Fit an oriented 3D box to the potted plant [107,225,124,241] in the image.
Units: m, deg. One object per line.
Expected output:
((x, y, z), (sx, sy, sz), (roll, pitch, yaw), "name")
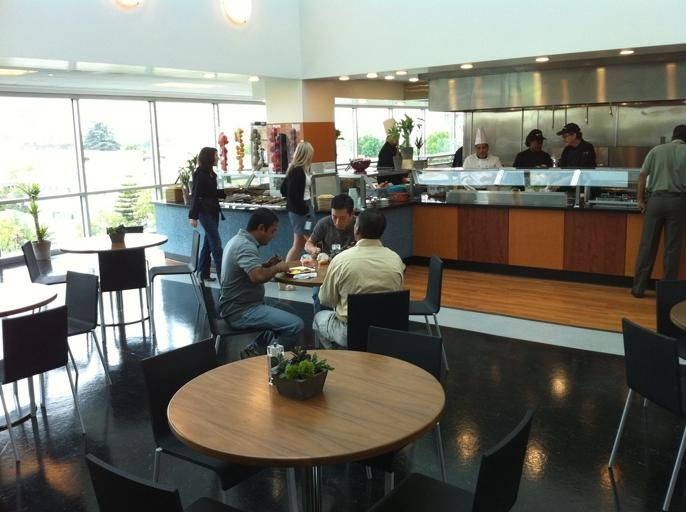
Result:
((-2.543, -0.270, 5.934), (0.174, 0.135, 0.179), (-1, 4, -7), "potted plant")

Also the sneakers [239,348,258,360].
((-0.760, 0.783, 4.291), (0.148, 0.056, 0.145), (0, 13, 4), "sneakers")

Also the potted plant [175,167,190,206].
((-2.557, -1.158, 8.576), (0.207, 0.573, 0.892), (-7, 14, -16), "potted plant")

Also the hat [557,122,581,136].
((3.238, -1.884, 7.847), (0.455, 0.261, 0.315), (6, 13, 20), "hat")

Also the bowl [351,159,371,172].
((0.256, -1.445, 8.394), (0.301, 0.205, 0.317), (-3, 14, 1), "bowl")

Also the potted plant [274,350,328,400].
((-0.201, 0.572, 2.637), (0.234, 0.166, 0.240), (4, 7, 39), "potted plant")

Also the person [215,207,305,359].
((-0.691, 0.317, 4.452), (0.736, 1.366, 0.717), (-1, 9, -2), "person")

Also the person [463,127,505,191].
((2.089, -1.510, 8.076), (0.650, 0.912, 0.510), (-2, 5, -10), "person")
